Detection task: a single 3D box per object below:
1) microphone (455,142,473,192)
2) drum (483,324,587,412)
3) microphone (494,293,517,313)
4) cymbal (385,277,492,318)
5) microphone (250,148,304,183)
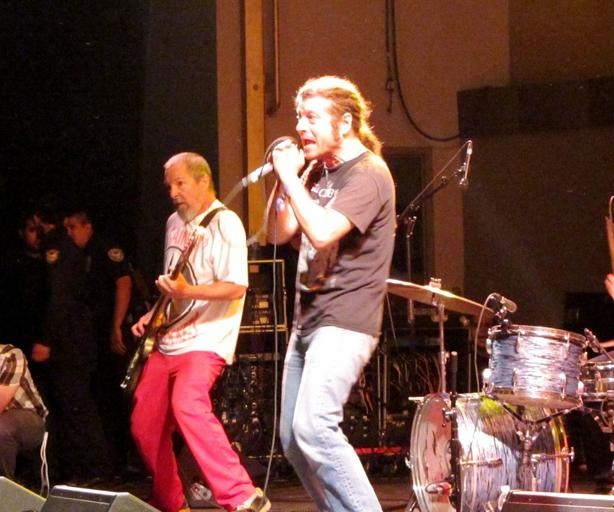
[{"bbox_3d":[0.991,-0.561,4.290,0.070,0.323,0.062,13,12,32],"label":"microphone"},{"bbox_3d":[1.213,0.611,3.668,0.546,0.380,0.530,9,-15,2],"label":"drum"},{"bbox_3d":[1.060,0.251,3.668,0.091,0.082,0.255,1,-3,16],"label":"microphone"},{"bbox_3d":[0.704,0.216,3.894,0.541,0.153,0.516,23,0,1],"label":"cymbal"},{"bbox_3d":[-0.142,-0.390,3.123,0.196,0.061,0.140,-36,16,-6],"label":"microphone"}]
